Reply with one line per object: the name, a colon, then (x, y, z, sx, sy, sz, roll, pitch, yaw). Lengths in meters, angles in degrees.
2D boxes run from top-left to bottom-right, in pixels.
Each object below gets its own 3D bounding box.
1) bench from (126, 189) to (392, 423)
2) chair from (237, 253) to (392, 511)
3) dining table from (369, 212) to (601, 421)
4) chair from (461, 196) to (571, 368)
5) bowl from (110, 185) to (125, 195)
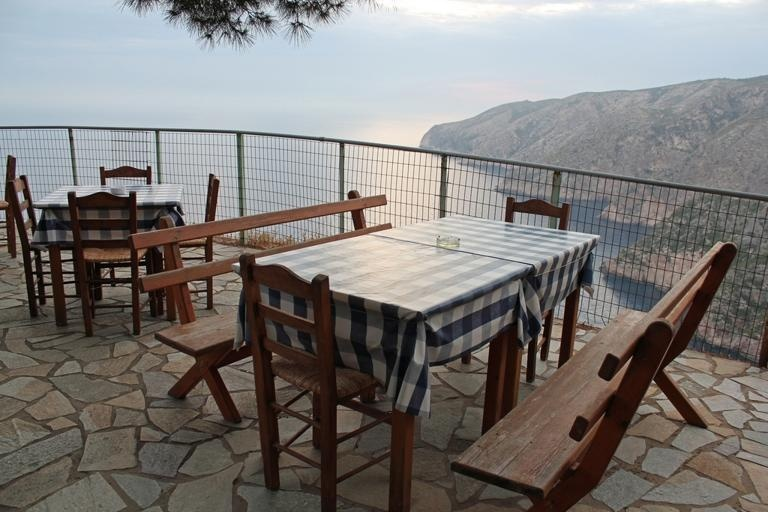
bench: (-1.071, 0.421, 4.235, 0.826, 1.192, 2.233, 21, 27, 35)
chair: (-0.474, 0.788, 3.435, 0.907, 1.641, 0.596, 16, 24, 39)
dining table: (0.618, 0.194, 4.073, 2.236, 0.441, 1.269, -18, 27, -41)
chair: (1.501, 0.125, 4.877, 0.951, 1.263, 0.875, 10, 12, 21)
bowl: (-2.986, -0.755, 5.967, 0.143, 0.067, 0.169, -2, 1, -40)
